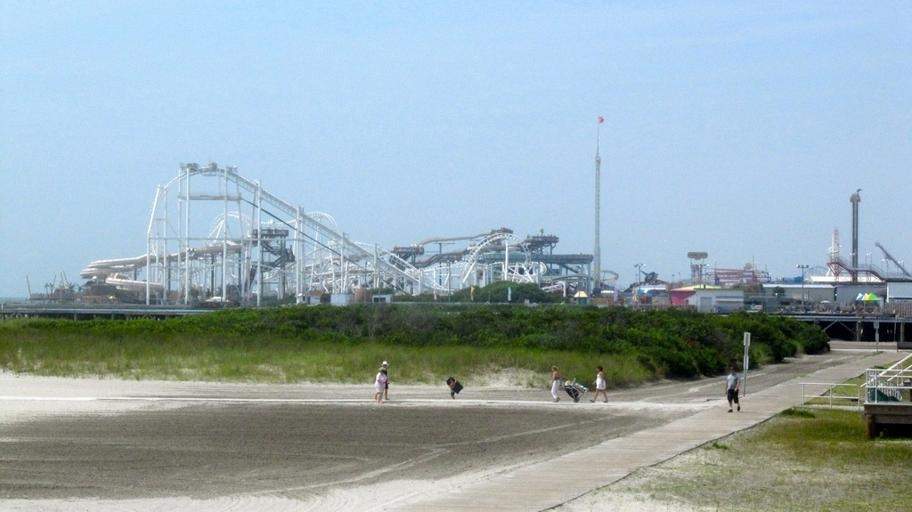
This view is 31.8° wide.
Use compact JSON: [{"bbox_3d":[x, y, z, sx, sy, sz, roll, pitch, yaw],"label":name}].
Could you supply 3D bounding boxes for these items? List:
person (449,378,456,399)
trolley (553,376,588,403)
[{"bbox_3d":[-0.230,11.718,142.798,0.587,1.781,1.222,2,5,1],"label":"person"},{"bbox_3d":[10.172,11.906,143.202,2.551,1.594,2.480,0,0,6],"label":"trolley"}]
